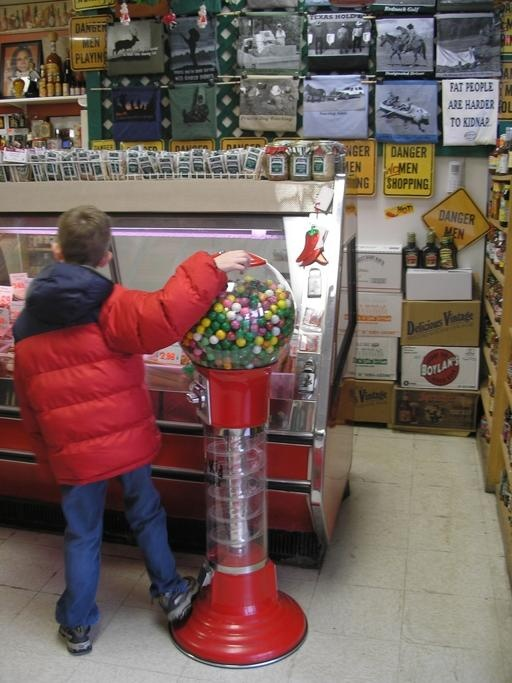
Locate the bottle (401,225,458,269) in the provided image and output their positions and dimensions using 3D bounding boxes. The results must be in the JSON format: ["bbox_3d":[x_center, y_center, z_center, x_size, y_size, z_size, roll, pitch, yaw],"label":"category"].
[{"bbox_3d":[1.275,-0.688,4.003,0.387,0.273,0.123,-1,0,-6],"label":"bottle"}]

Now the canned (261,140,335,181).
[{"bbox_3d":[0.179,-0.650,2.049,0.194,0.081,0.186,1,12,7],"label":"canned"}]

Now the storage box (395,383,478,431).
[{"bbox_3d":[1.292,0.425,4.011,0.590,0.326,0.326,-1,20,14],"label":"storage box"}]

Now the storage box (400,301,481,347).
[{"bbox_3d":[1.238,-0.077,4.058,0.637,0.318,0.592,-3,-8,-1],"label":"storage box"}]

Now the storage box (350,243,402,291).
[{"bbox_3d":[0.834,-0.511,4.085,0.534,0.437,0.300,2,8,12],"label":"storage box"}]

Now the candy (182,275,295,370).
[{"bbox_3d":[-0.042,-0.044,1.487,0.269,0.197,0.277,-9,5,1],"label":"candy"}]

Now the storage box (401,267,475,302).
[{"bbox_3d":[1.266,-0.399,3.822,0.439,0.219,0.170,2,6,19],"label":"storage box"}]

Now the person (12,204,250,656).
[{"bbox_3d":[-0.389,0.287,1.628,0.750,1.362,0.427,0,5,3],"label":"person"}]

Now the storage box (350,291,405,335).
[{"bbox_3d":[0.937,-0.205,4.038,0.355,0.314,0.187,2,7,35],"label":"storage box"}]

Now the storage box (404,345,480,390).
[{"bbox_3d":[1.305,0.142,3.979,0.528,0.291,0.274,-1,13,9],"label":"storage box"}]

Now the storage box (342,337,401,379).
[{"bbox_3d":[0.797,0.118,4.126,0.399,0.313,0.387,2,-2,-13],"label":"storage box"}]

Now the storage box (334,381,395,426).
[{"bbox_3d":[0.736,0.436,4.066,0.470,0.299,0.241,5,-8,-13],"label":"storage box"}]
